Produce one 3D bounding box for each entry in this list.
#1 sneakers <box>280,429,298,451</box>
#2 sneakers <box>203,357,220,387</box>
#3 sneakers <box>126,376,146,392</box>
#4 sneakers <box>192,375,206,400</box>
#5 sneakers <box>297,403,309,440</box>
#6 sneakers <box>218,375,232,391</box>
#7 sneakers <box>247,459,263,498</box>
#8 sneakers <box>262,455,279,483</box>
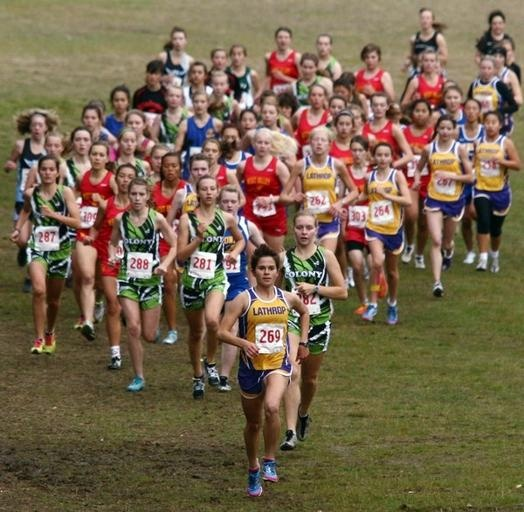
[{"bbox_3d":[0.215,1.494,9.982,0.086,0.102,0.223,11,-2,15],"label":"sneakers"},{"bbox_3d":[-0.490,1.097,11.695,0.107,0.135,0.314,-7,22,-12],"label":"sneakers"},{"bbox_3d":[-1.172,1.167,11.398,0.158,0.151,0.311,0,12,-5],"label":"sneakers"},{"bbox_3d":[-0.581,1.209,11.285,0.076,0.232,0.104,-2,-17,-2],"label":"sneakers"},{"bbox_3d":[0.344,1.432,10.385,0.080,0.237,0.106,1,4,-9],"label":"sneakers"},{"bbox_3d":[-0.360,1.199,11.492,0.128,0.146,0.330,1,-3,-1],"label":"sneakers"},{"bbox_3d":[-0.063,1.674,9.245,0.108,0.270,0.094,0,12,-4],"label":"sneakers"},{"bbox_3d":[0.056,1.629,9.329,0.085,0.101,0.230,2,-5,-8],"label":"sneakers"}]
